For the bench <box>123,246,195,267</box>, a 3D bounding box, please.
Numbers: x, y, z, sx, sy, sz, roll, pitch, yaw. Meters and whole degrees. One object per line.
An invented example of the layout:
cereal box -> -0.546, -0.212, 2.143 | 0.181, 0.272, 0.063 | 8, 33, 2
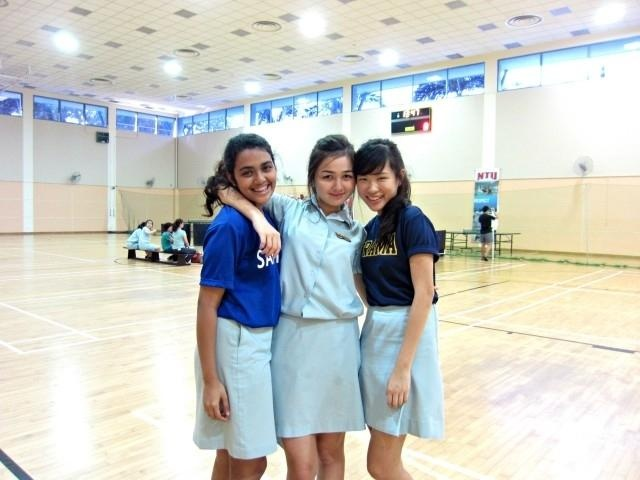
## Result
bench -> -3.992, 0.370, 11.127 | 2.280, 0.385, 1.118 | 3, 6, 31

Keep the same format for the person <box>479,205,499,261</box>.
person -> 4.626, -0.188, 12.104 | 0.404, 1.501, 1.380 | 2, 6, 21
